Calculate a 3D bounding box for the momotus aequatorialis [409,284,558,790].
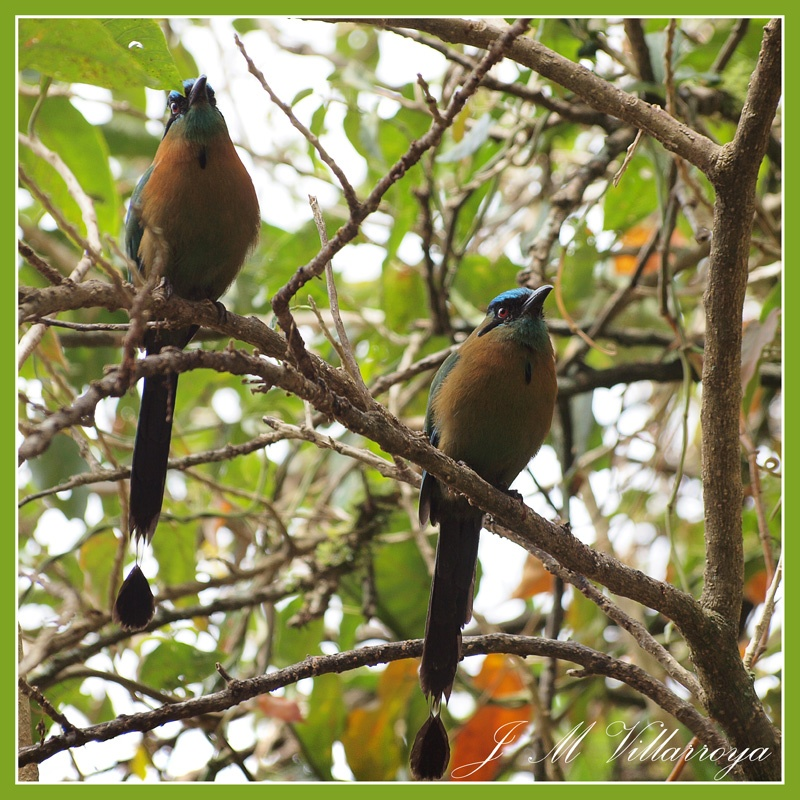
[{"bbox_3d":[0.310,0.518,4.827,0.540,0.690,2.532,14,-58,-3],"label":"momotus aequatorialis"}]
